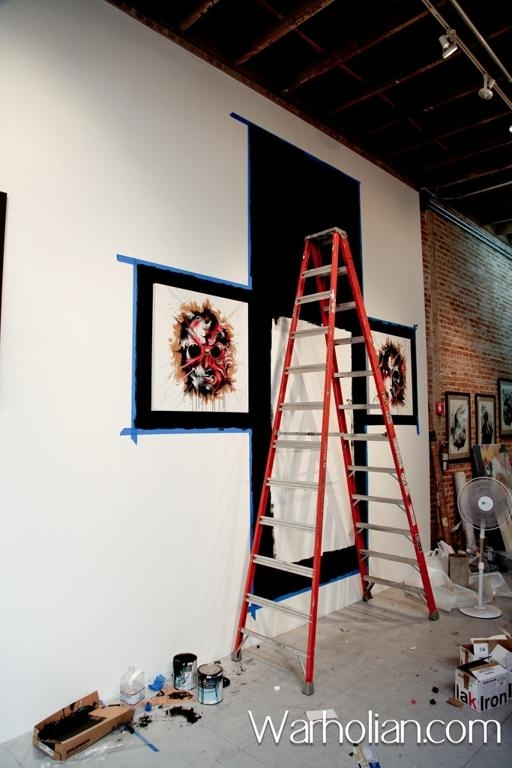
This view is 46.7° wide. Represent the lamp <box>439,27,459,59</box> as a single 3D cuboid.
[{"bbox_3d":[0.954,-1.681,2.931,0.064,0.129,0.192,2,0,25],"label":"lamp"}]

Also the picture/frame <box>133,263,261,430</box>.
[{"bbox_3d":[-0.319,-0.180,2.939,0.042,0.884,0.823,-3,-4,40],"label":"picture/frame"}]

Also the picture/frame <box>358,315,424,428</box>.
[{"bbox_3d":[0.953,-0.085,4.260,0.037,0.839,0.776,-5,-9,37],"label":"picture/frame"}]

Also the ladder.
[{"bbox_3d":[0.521,0.225,3.425,0.731,2.628,1.702,2,0,29],"label":"ladder"}]
